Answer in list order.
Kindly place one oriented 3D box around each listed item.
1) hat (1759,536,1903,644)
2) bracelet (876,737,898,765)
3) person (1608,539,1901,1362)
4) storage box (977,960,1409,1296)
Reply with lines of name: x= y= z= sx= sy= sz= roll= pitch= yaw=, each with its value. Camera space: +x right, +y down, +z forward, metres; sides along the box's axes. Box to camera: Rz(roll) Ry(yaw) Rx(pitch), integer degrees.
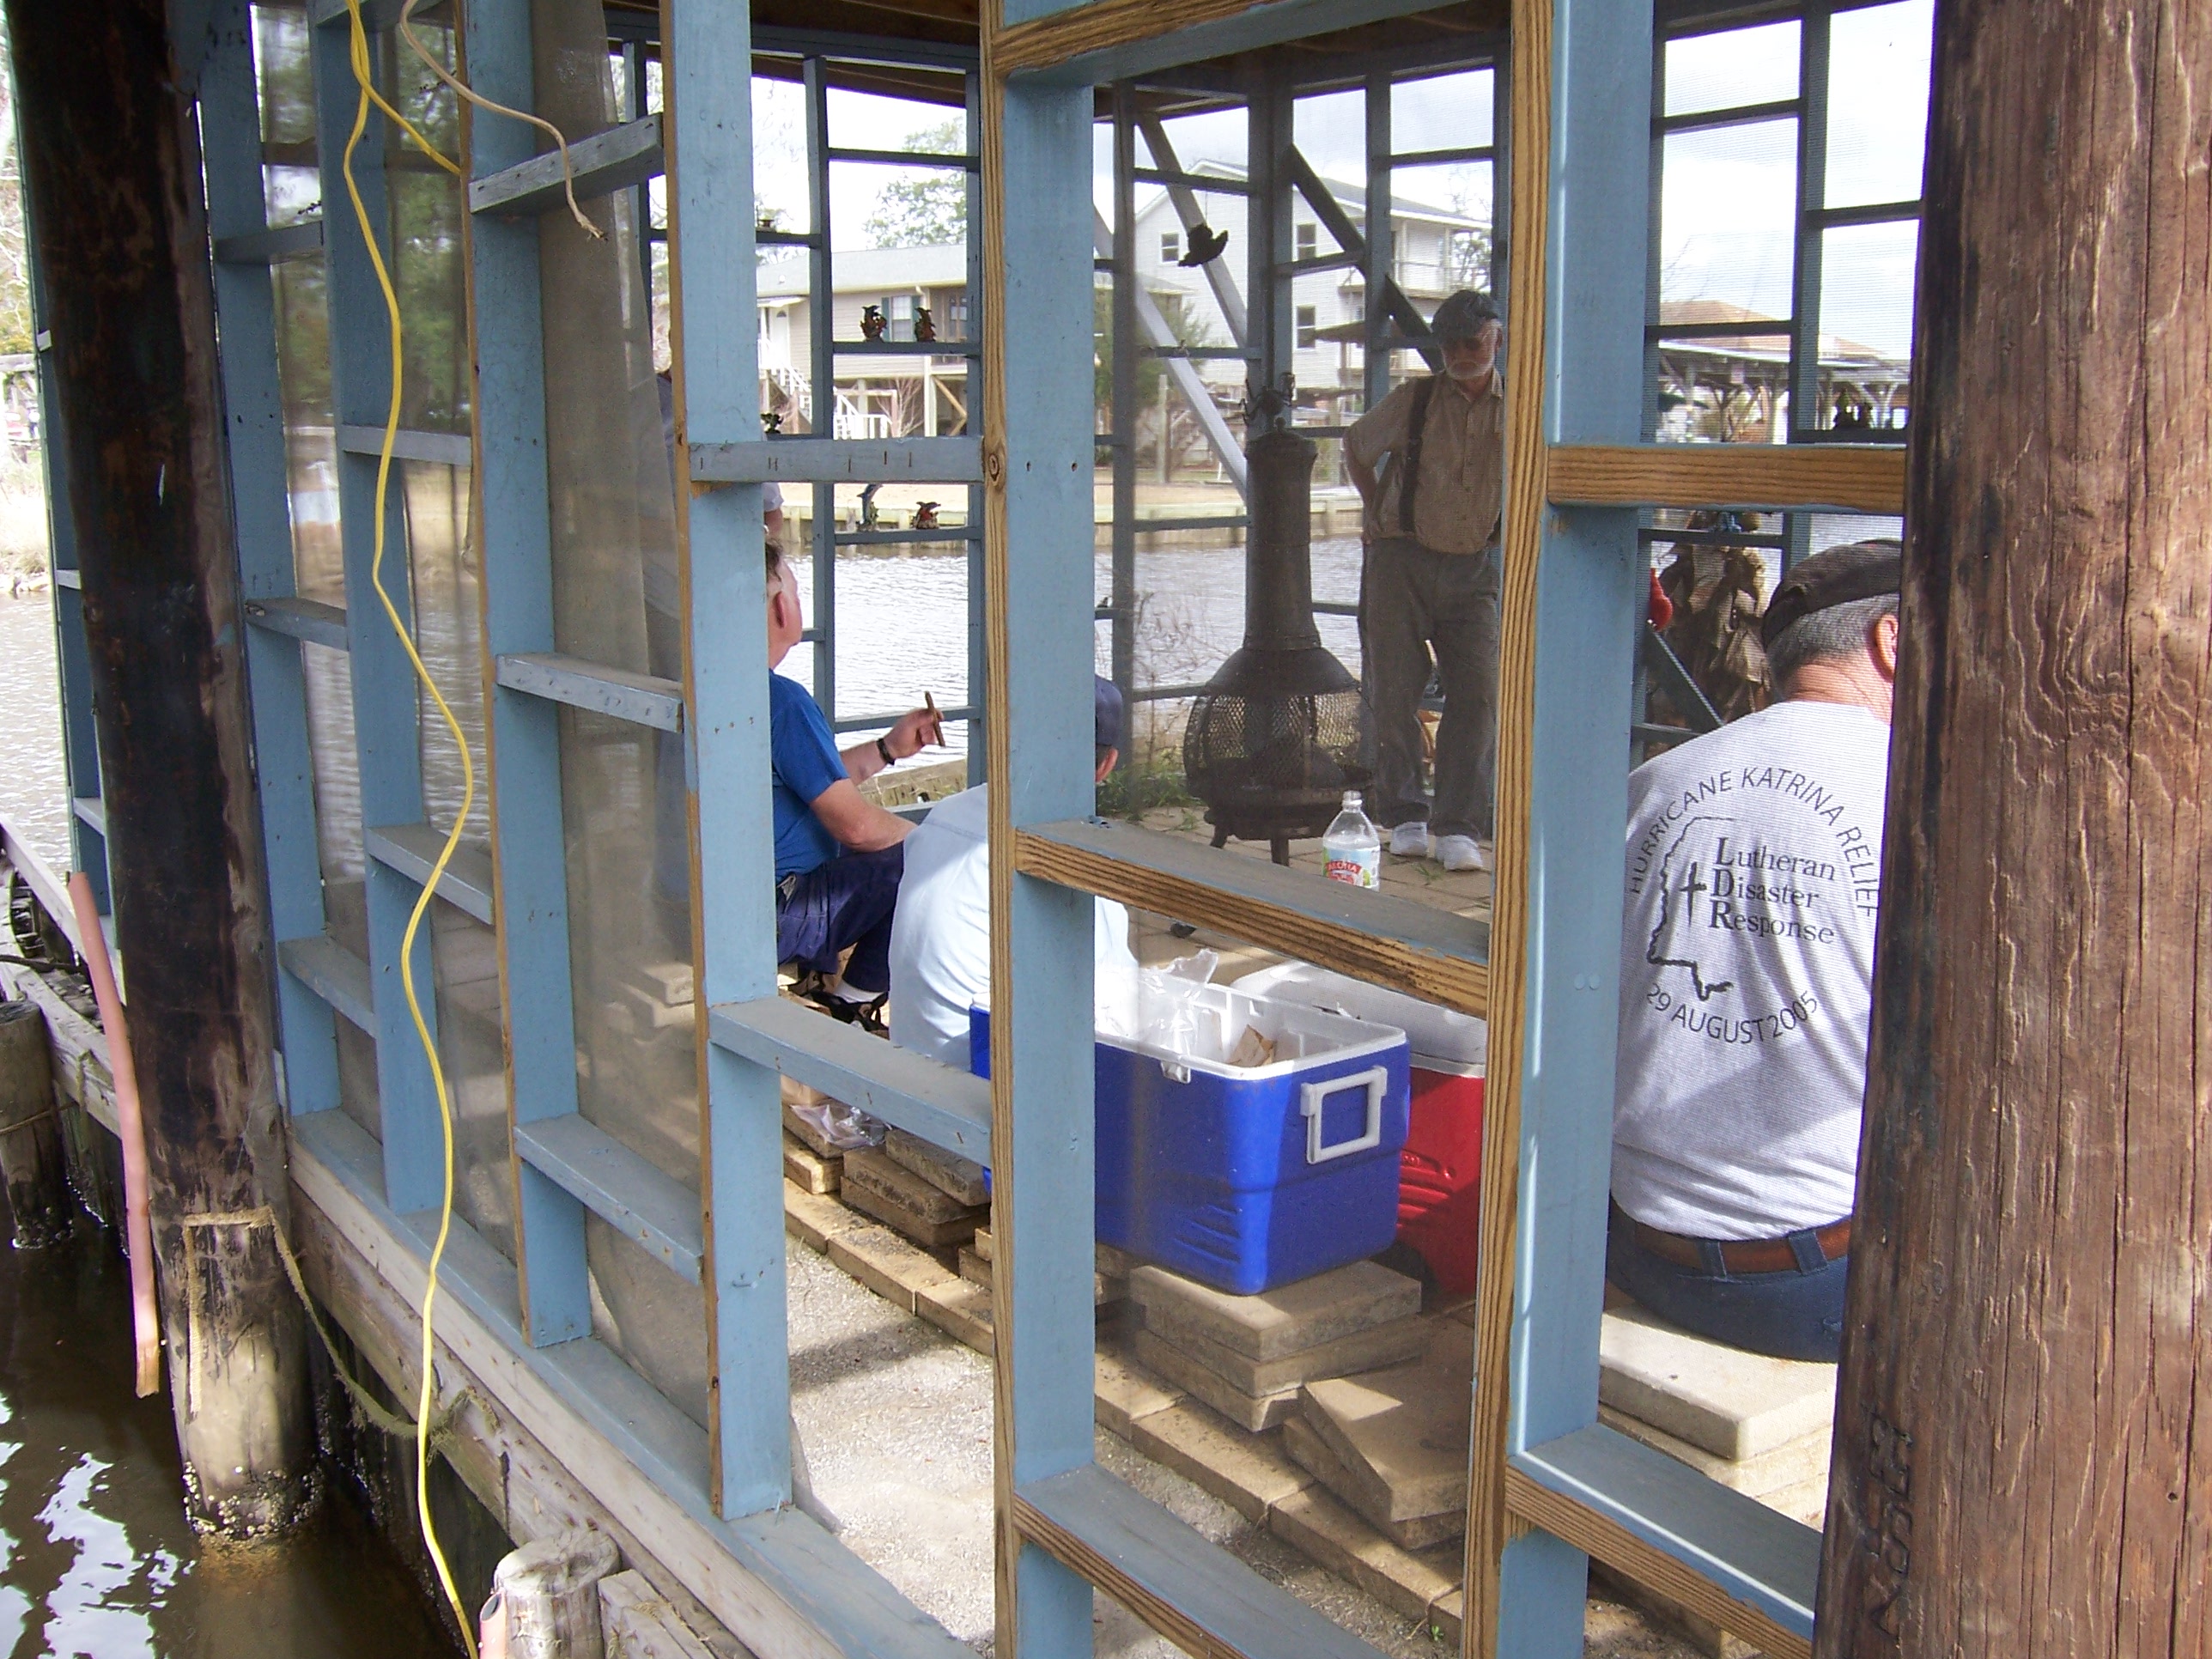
hat: x=1.025 y=-0.324 z=2.779 sx=0.197 sy=0.152 sz=0.200 roll=9 pitch=16 yaw=43
bracelet: x=-0.666 y=-0.236 z=6.122 sx=0.031 sy=0.066 sz=0.080 roll=6 pitch=-19 yaw=-7
person: x=0.942 y=0.202 z=3.014 sx=0.390 sy=1.266 sz=0.348 roll=3 pitch=12 yaw=22
storage box: x=0.148 y=0.491 z=3.649 sx=0.444 sy=0.452 sz=0.688 roll=-9 pitch=14 yaw=-39
